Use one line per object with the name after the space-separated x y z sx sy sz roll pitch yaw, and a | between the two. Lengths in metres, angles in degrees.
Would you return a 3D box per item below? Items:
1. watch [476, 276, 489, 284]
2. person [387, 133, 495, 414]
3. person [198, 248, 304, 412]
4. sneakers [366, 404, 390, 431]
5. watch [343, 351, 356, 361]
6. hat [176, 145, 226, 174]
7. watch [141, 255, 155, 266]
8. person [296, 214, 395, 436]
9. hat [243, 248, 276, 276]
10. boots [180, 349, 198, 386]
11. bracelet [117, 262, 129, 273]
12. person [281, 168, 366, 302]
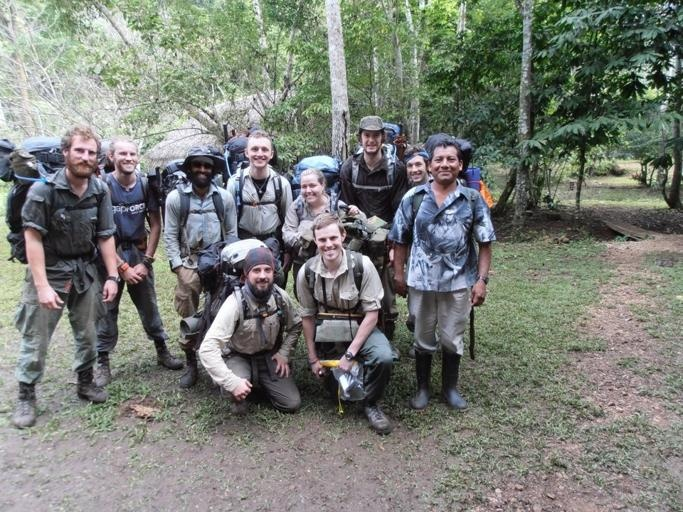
1.305 0.243 4.437 0.096 0.063 0.098 5 2 -36 | watch
0.930 0.167 4.449 0.927 2.488 0.457 -2 11 5 | person
-0.771 0.736 4.508 0.883 1.482 1.128 13 14 34 | person
0.321 1.467 4.333 0.142 0.185 0.273 -10 12 -34 | sneakers
0.069 0.900 4.360 0.058 0.091 0.085 -50 27 -16 | watch
-1.353 -0.983 4.724 0.318 0.178 0.336 0 3 -23 | hat
-1.992 0.045 4.940 0.091 0.093 0.105 17 -3 -15 | watch
0.079 0.573 4.423 0.894 1.939 0.449 4 13 35 | person
-0.743 0.034 4.331 0.224 0.188 0.247 2 -24 -17 | hat
-1.579 1.138 4.941 0.175 0.384 0.394 4 14 -10 | boots
-2.180 0.112 4.831 0.099 0.061 0.095 -34 24 15 | bracelet
-0.216 -0.054 5.201 0.839 1.713 0.728 -8 22 -15 | person
